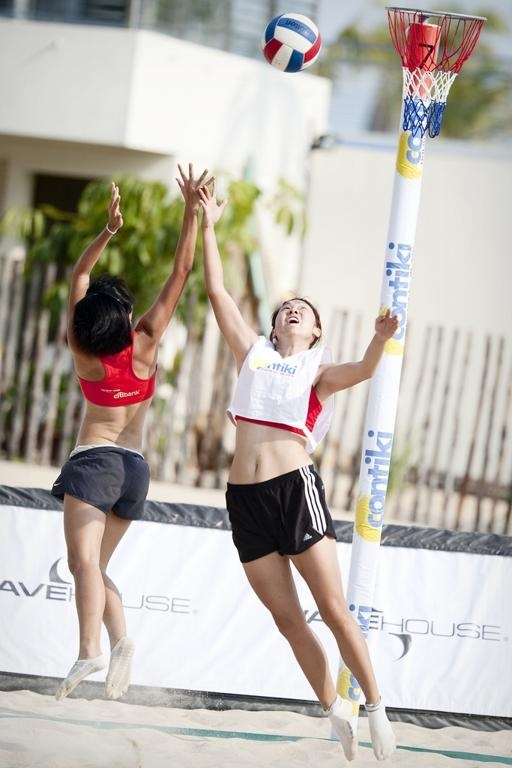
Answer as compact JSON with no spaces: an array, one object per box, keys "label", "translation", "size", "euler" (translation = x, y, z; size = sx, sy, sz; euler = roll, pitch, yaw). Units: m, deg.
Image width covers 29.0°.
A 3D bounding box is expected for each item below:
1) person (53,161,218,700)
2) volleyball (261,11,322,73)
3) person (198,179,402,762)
[{"label":"person","translation":[-0.554,0.187,3.988],"size":[0.555,2.099,0.520],"euler":[5,1,-34]},{"label":"volleyball","translation":[0.147,-1.451,4.199],"size":[0.236,0.246,0.176],"euler":[9,11,6]},{"label":"person","translation":[0.119,0.292,3.617],"size":[0.476,1.835,0.707],"euler":[8,-5,-43]}]
